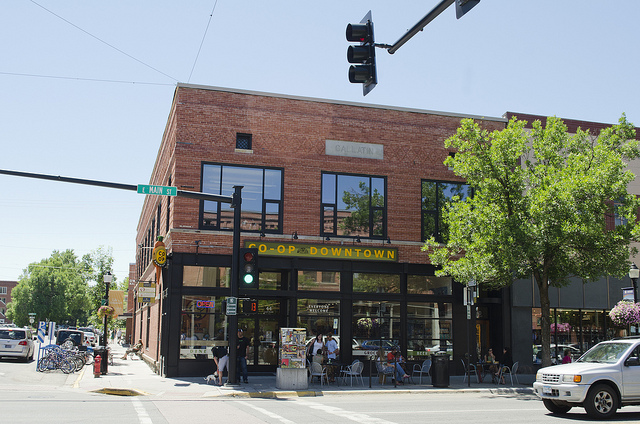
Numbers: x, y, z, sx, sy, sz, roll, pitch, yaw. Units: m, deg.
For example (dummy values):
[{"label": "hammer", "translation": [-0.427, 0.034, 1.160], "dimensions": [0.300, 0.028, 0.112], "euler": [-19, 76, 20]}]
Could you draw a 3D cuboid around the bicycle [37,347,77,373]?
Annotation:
[{"label": "bicycle", "translation": [-14.188, 8.163, 40.202], "dimensions": [2.271, 1.349, 0.996], "euler": [-6, -11, 21]}]

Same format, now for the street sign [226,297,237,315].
[{"label": "street sign", "translation": [-3.932, 4.185, 33.035], "dimensions": [0.458, 0.701, 0.211], "euler": [3, -6, -6]}]

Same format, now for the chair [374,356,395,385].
[{"label": "chair", "translation": [3.194, 7.860, 36.820], "dimensions": [1.012, 1.477, 1.140], "euler": [0, -7, 4]}]

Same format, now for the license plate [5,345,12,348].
[{"label": "license plate", "translation": [-18.920, 8.159, 45.073], "dimensions": [0.329, 0.156, 0.083], "euler": [10, -16, -34]}]

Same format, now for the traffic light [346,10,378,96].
[{"label": "traffic light", "translation": [1.289, -4.987, 23.273], "dimensions": [0.905, 2.559, 0.712], "euler": [0, -13, 2]}]

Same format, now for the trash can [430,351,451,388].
[{"label": "trash can", "translation": [5.762, 7.587, 35.642], "dimensions": [0.830, 1.660, 0.533], "euler": [1, -13, 1]}]

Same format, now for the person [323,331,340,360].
[{"label": "person", "translation": [0.523, 6.693, 37.016], "dimensions": [0.523, 1.327, 0.919], "euler": [-11, -18, 41]}]

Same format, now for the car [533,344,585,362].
[{"label": "car", "translation": [13.174, 7.800, 41.570], "dimensions": [2.425, 0.848, 1.408], "euler": [-1, -7, -12]}]

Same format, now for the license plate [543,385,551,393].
[{"label": "license plate", "translation": [8.637, 6.738, 28.355], "dimensions": [0.430, 0.318, 0.233], "euler": [1, -3, -6]}]

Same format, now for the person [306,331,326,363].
[{"label": "person", "translation": [-0.211, 6.827, 37.356], "dimensions": [0.738, 1.457, 0.862], "euler": [9, -5, -24]}]

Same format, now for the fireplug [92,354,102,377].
[{"label": "fireplug", "translation": [-11.171, 7.720, 37.288], "dimensions": [0.285, 1.058, 0.735], "euler": [5, -14, -18]}]

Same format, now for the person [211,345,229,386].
[{"label": "person", "translation": [-4.631, 7.187, 34.612], "dimensions": [0.697, 1.799, 0.848], "euler": [10, -16, -32]}]

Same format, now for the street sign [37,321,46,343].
[{"label": "street sign", "translation": [-15.690, 6.779, 41.893], "dimensions": [0.339, 1.272, 1.434], "euler": [6, -15, -22]}]

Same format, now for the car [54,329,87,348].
[{"label": "car", "translation": [-16.254, 8.182, 48.517], "dimensions": [1.026, 1.107, 2.749], "euler": [-2, -14, 11]}]

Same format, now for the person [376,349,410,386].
[{"label": "person", "translation": [3.484, 7.693, 36.704], "dimensions": [1.114, 1.766, 1.505], "euler": [10, -16, -32]}]

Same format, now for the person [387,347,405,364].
[{"label": "person", "translation": [3.721, 7.227, 36.804], "dimensions": [0.567, 1.217, 0.678], "euler": [28, -32, -30]}]
